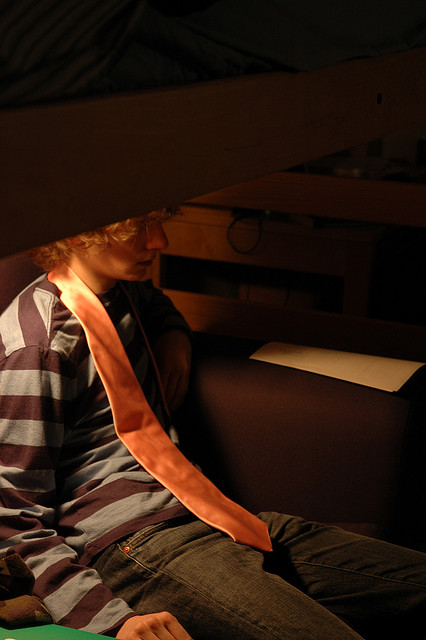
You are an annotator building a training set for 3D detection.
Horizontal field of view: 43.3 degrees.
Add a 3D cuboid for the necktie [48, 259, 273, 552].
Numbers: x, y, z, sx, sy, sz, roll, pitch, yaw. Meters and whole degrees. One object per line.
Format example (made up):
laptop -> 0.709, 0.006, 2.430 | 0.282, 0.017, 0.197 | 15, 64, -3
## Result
necktie -> -0.103, 0.176, 1.044 | 0.127, 0.714, 0.034 | -34, 6, -17
